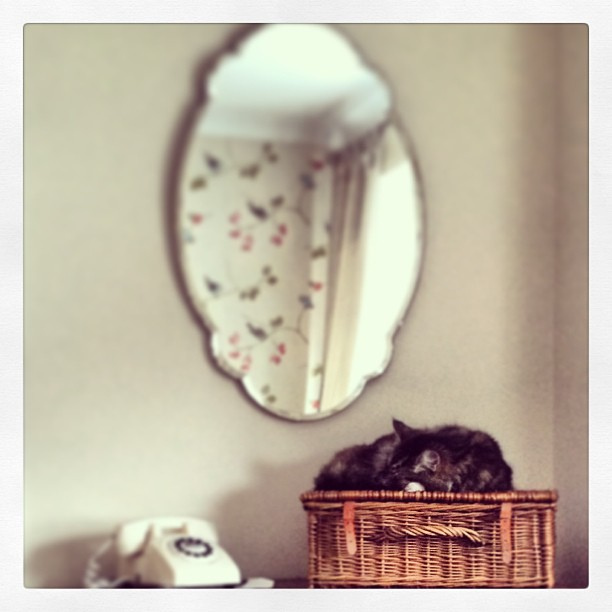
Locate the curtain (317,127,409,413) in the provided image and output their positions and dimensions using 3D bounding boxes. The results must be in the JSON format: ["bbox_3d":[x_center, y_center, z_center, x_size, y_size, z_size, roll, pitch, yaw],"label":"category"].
[{"bbox_3d":[0.140,-0.090,2.135,0.209,0.700,0.099,0,4,4],"label":"curtain"}]
